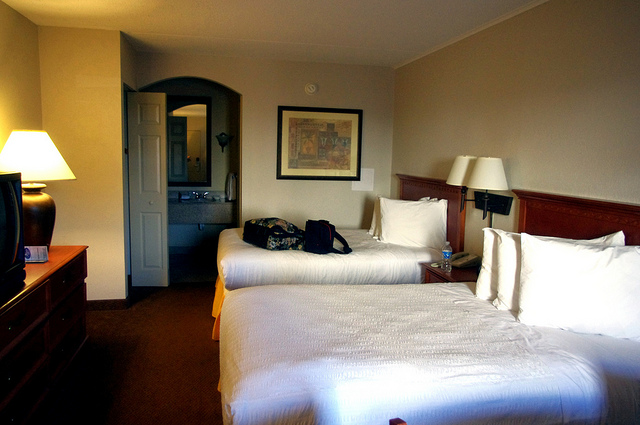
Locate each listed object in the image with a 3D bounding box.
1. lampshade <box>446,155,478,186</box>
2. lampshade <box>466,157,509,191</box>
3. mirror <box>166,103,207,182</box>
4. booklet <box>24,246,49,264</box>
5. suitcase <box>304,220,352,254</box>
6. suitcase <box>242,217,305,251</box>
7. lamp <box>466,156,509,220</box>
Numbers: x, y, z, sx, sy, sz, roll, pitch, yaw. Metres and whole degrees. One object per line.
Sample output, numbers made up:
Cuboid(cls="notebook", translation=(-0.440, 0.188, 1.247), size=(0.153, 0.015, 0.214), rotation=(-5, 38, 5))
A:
Cuboid(cls="lampshade", translation=(1.443, -0.469, 4.700), size=(0.304, 0.337, 0.312), rotation=(15, 14, 17))
Cuboid(cls="lampshade", translation=(1.528, -0.392, 4.241), size=(0.296, 0.315, 0.304), rotation=(-3, 10, -17))
Cuboid(cls="mirror", translation=(-2.081, -1.060, 7.012), size=(0.672, 1.285, 0.126), rotation=(4, 16, -3))
Cuboid(cls="booklet", translation=(-2.303, 0.337, 3.663), size=(0.173, 0.127, 0.110), rotation=(0, 8, -10))
Cuboid(cls="suitcase", translation=(0.083, 0.243, 4.906), size=(0.437, 0.198, 0.316), rotation=(9, 0, -21))
Cuboid(cls="suitcase", translation=(-0.470, 0.231, 4.884), size=(0.409, 0.220, 0.438), rotation=(8, 13, -21))
Cuboid(cls="lamp", translation=(1.589, -0.230, 4.334), size=(0.387, 0.653, 0.395), rotation=(-3, 13, -24))
